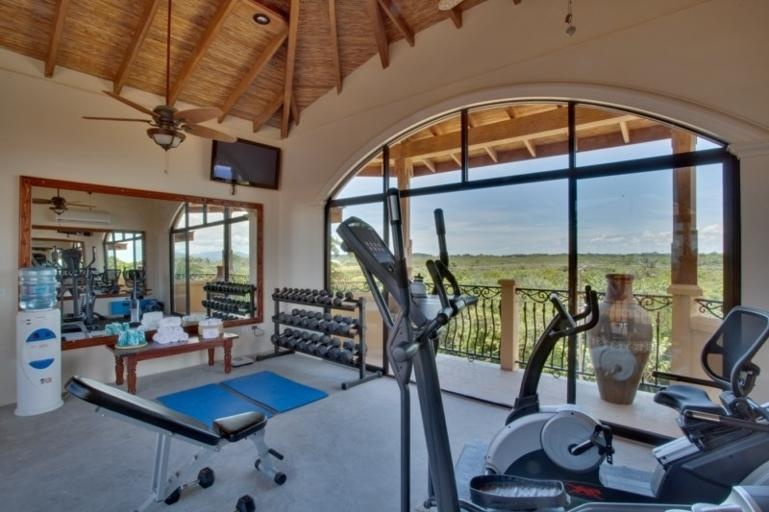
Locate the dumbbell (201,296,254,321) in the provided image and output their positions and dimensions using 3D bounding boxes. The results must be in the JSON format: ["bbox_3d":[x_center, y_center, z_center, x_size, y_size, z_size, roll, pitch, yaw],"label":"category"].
[{"bbox_3d":[-2.749,0.915,8.613,0.592,0.280,0.419,4,0,27],"label":"dumbbell"}]

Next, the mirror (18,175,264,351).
[{"bbox_3d":[-3.934,0.095,7.670,3.198,2.190,0.075,1,-1,-38],"label":"mirror"}]

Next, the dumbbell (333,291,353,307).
[{"bbox_3d":[-0.656,0.673,7.835,0.308,0.191,0.465,-1,1,-5],"label":"dumbbell"}]

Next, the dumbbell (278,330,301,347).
[{"bbox_3d":[-1.561,1.334,8.020,0.309,0.129,0.304,-21,7,-17],"label":"dumbbell"}]

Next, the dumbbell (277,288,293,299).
[{"bbox_3d":[-1.755,0.639,8.547,0.164,0.115,0.260,0,-11,2],"label":"dumbbell"}]

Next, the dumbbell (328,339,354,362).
[{"bbox_3d":[-0.665,1.421,7.354,0.342,0.158,0.340,7,12,40],"label":"dumbbell"}]

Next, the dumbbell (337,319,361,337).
[{"bbox_3d":[-0.551,1.109,7.526,0.291,0.293,0.093,6,-26,-29],"label":"dumbbell"}]

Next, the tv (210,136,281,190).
[{"bbox_3d":[-2.497,-1.630,8.588,1.100,0.728,0.108,0,3,-39],"label":"tv"}]

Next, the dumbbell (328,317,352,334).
[{"bbox_3d":[-0.675,1.066,7.494,0.268,0.097,0.275,4,4,42],"label":"dumbbell"}]

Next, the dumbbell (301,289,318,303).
[{"bbox_3d":[-1.230,0.638,8.121,0.181,0.219,0.079,0,-20,4],"label":"dumbbell"}]

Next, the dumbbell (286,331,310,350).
[{"bbox_3d":[-1.406,1.340,7.895,0.138,0.242,0.431,26,-1,-31],"label":"dumbbell"}]

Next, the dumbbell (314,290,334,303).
[{"bbox_3d":[-0.968,0.667,7.874,0.243,0.086,0.249,-1,6,-15],"label":"dumbbell"}]

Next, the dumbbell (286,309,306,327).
[{"bbox_3d":[-1.443,1.009,7.991,0.482,0.270,0.149,-8,-23,11],"label":"dumbbell"}]

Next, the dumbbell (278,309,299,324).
[{"bbox_3d":[-1.582,1.010,8.246,0.267,0.123,0.352,0,-1,-44],"label":"dumbbell"}]

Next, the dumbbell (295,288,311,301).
[{"bbox_3d":[-1.362,0.646,8.190,0.175,0.116,0.301,2,0,-41],"label":"dumbbell"}]

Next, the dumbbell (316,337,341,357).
[{"bbox_3d":[-0.834,1.370,7.436,0.306,0.144,0.300,1,-3,-32],"label":"dumbbell"}]

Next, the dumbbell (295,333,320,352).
[{"bbox_3d":[-1.210,1.356,7.726,0.322,0.287,0.127,-3,-9,15],"label":"dumbbell"}]

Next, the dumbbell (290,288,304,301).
[{"bbox_3d":[-1.468,0.656,8.313,0.196,0.193,0.060,-9,-36,21],"label":"dumbbell"}]

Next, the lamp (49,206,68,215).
[{"bbox_3d":[-4.773,-0.671,7.139,0.142,0.071,0.142,0,2,33],"label":"lamp"}]

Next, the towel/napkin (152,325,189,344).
[{"bbox_3d":[-3.361,1.127,7.590,0.286,0.202,0.397,4,3,45],"label":"towel/napkin"}]

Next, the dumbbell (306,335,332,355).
[{"bbox_3d":[-0.998,1.375,7.562,0.324,0.140,0.324,3,1,30],"label":"dumbbell"}]

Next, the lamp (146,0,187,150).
[{"bbox_3d":[-2.951,-2.474,6.592,0.416,1.928,1.685,-1,1,-24],"label":"lamp"}]

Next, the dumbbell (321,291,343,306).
[{"bbox_3d":[-0.829,0.678,7.777,0.259,0.089,0.256,3,4,12],"label":"dumbbell"}]

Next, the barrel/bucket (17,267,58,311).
[{"bbox_3d":[-4.832,0.433,6.765,0.431,0.657,0.264,-1,1,-22],"label":"barrel/bucket"}]
